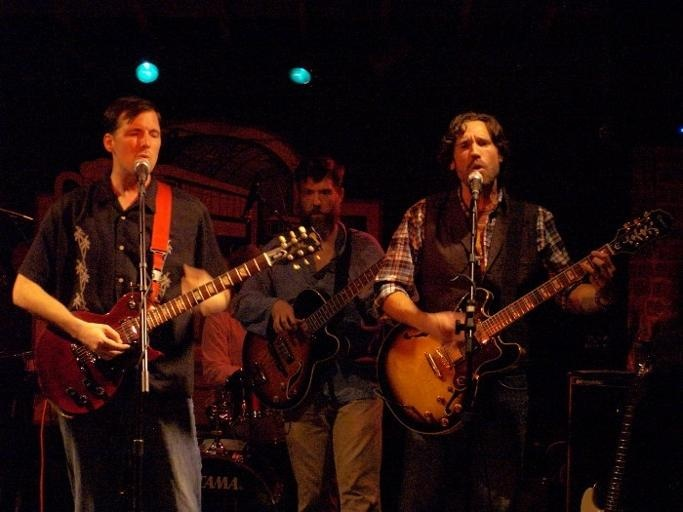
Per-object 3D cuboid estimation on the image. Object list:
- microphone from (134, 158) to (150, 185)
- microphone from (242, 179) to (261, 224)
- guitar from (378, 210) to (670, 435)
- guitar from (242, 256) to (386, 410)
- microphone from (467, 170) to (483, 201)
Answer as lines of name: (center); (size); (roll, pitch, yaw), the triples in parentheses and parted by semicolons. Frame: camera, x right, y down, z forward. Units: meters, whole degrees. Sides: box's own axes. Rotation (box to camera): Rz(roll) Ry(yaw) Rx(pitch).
microphone: (-1.145, -0.490, 3.646); (0.080, 0.195, 0.136); (6, -11, -18)
microphone: (-0.748, -0.462, 5.327); (0.137, 0.363, 0.038); (12, 15, 2)
guitar: (0.970, 0.458, 3.882); (1.488, 1.292, 0.304); (1, -10, 6)
guitar: (-0.105, 0.590, 4.862); (1.532, 0.611, 0.183); (-45, -15, 17)
microphone: (0.804, -0.422, 3.795); (0.086, 0.259, 0.329); (0, -11, 14)
